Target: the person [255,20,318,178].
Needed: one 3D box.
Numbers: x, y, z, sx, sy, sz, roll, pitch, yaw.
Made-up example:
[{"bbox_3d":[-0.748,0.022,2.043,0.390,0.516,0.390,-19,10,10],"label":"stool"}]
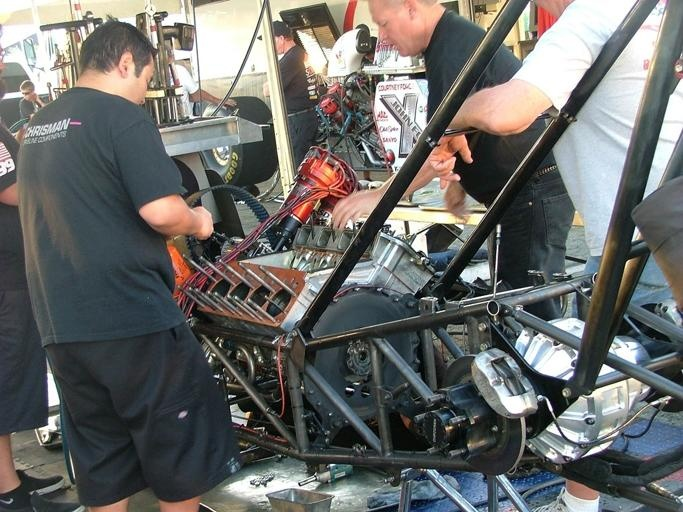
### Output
[{"bbox_3d":[-0.736,-2.604,8.288,0.560,2.054,1.092,-4,26,-13],"label":"person"}]
